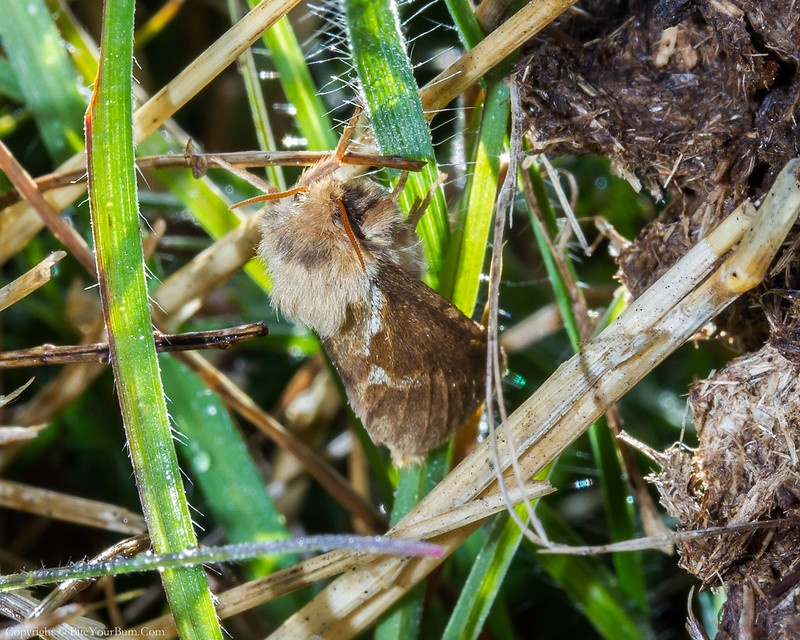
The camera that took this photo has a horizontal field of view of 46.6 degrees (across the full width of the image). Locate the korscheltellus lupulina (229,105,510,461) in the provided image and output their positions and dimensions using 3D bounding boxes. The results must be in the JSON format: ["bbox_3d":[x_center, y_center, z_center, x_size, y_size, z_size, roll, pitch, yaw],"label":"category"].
[{"bbox_3d":[-0.021,-0.082,1.393,0.400,0.428,0.123,-31,5,21],"label":"korscheltellus lupulina"}]
